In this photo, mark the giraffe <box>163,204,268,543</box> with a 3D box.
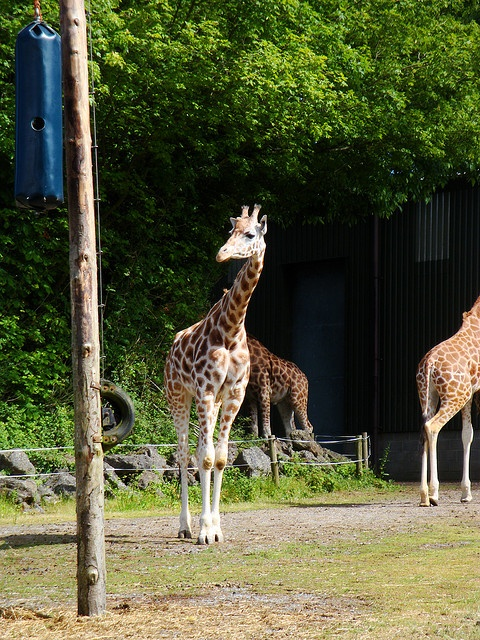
[{"bbox_3d":[-0.212,0.542,16.459,0.769,3.418,1.812,1,-5,-14],"label":"giraffe"}]
